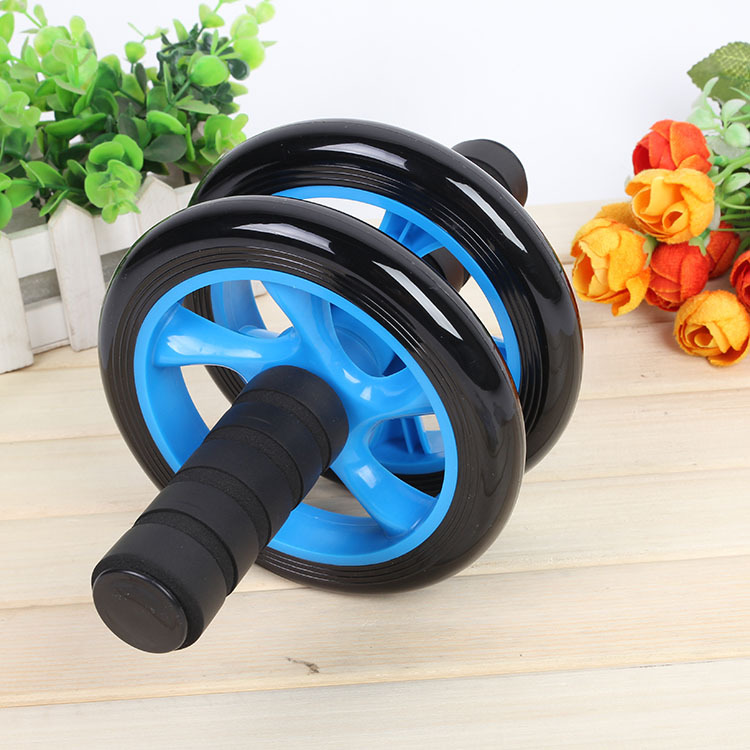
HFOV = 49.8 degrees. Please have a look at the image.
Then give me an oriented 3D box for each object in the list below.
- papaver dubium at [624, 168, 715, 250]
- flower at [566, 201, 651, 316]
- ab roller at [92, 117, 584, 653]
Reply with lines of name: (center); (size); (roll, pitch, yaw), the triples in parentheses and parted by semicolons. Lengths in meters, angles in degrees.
papaver dubium: (0.391, -0.216, 1.043); (0.129, 0.097, 0.081); (0, 15, -2)
flower: (0.307, -0.150, 1.077); (0.106, 0.082, 0.161); (31, 37, 24)
ab roller: (-0.022, 0.005, 0.816); (0.500, 0.386, 0.540); (11, 29, 8)
